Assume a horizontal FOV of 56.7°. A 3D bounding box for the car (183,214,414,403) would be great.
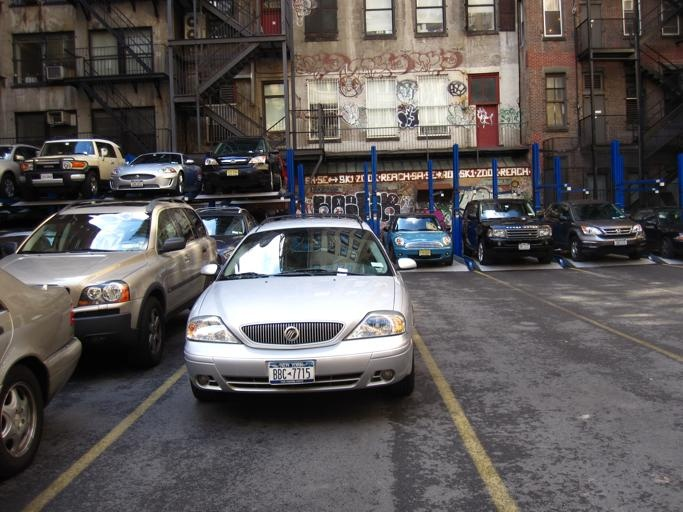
[{"bbox_3d":[-0.413,0.449,6.935,1.354,1.182,2.763,-1,0,3],"label":"car"}]
